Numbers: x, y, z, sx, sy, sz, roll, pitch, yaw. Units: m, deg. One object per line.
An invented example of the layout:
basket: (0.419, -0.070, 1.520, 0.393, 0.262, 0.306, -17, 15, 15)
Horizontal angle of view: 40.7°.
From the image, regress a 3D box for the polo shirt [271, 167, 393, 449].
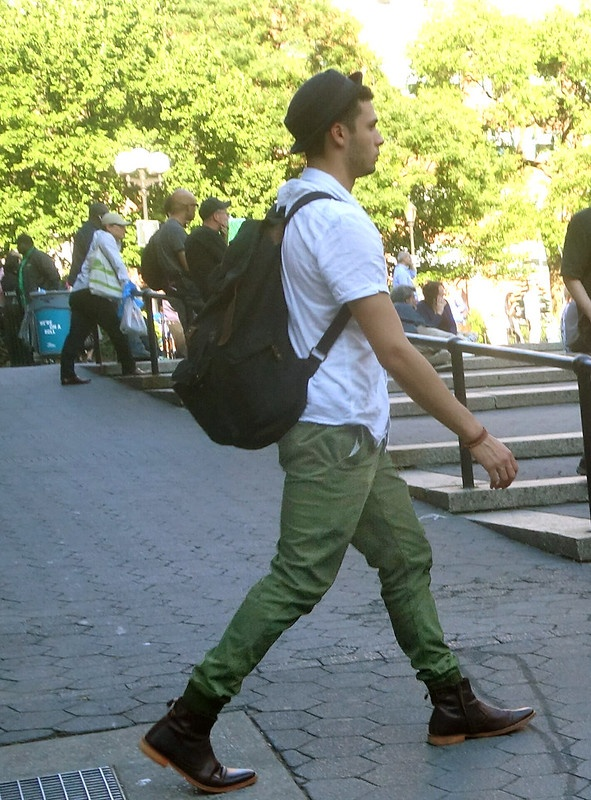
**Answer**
polo shirt: (0.083, -0.251, 1.976, 0.301, 0.725, 0.394, 0, 3, 5)

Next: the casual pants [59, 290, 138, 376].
casual pants: (-2.660, -0.945, 10.674, 1.191, 1.329, 0.607, -3, -1, 19)
